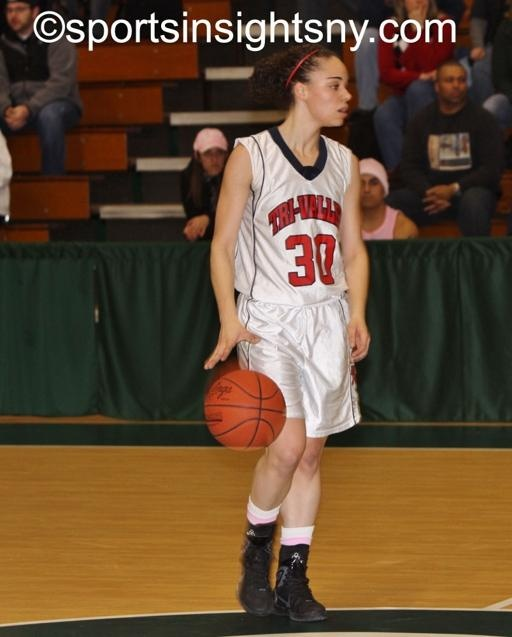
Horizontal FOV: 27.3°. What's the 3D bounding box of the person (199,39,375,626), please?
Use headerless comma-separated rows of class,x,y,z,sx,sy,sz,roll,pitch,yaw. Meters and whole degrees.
person,0.120,0.027,3.491,0.461,1.813,0.592,3,9,24

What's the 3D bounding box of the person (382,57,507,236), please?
person,1.132,-0.980,6.150,0.662,0.976,0.354,4,10,29

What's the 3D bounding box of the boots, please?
boots,0.139,0.841,3.449,0.160,0.374,0.426,7,-8,-43

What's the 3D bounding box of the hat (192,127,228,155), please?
hat,-0.269,-1.018,6.156,0.131,0.186,0.182,-1,-9,-8

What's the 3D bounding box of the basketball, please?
basketball,-0.038,0.251,3.349,0.220,0.253,0.243,8,3,32
